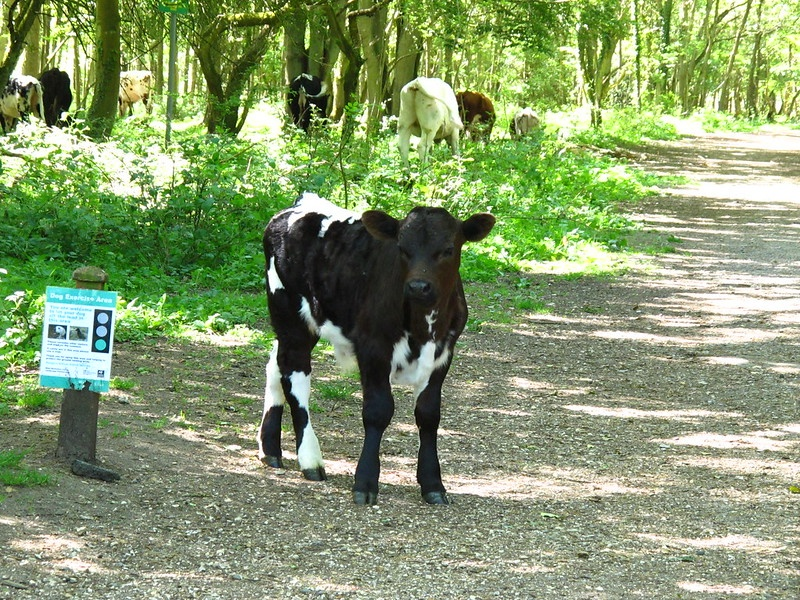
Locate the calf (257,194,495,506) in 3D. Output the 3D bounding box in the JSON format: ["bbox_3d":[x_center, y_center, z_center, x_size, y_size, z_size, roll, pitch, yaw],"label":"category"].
[{"bbox_3d":[-0.251,0.360,9.180,1.743,2.318,0.821,8,6,45],"label":"calf"}]

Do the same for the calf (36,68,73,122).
[{"bbox_3d":[-6.981,-4.151,23.070,0.574,1.024,2.089,-11,12,-2],"label":"calf"}]

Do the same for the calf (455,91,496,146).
[{"bbox_3d":[1.823,-4.244,25.923,0.495,0.866,1.737,-25,37,-14],"label":"calf"}]
